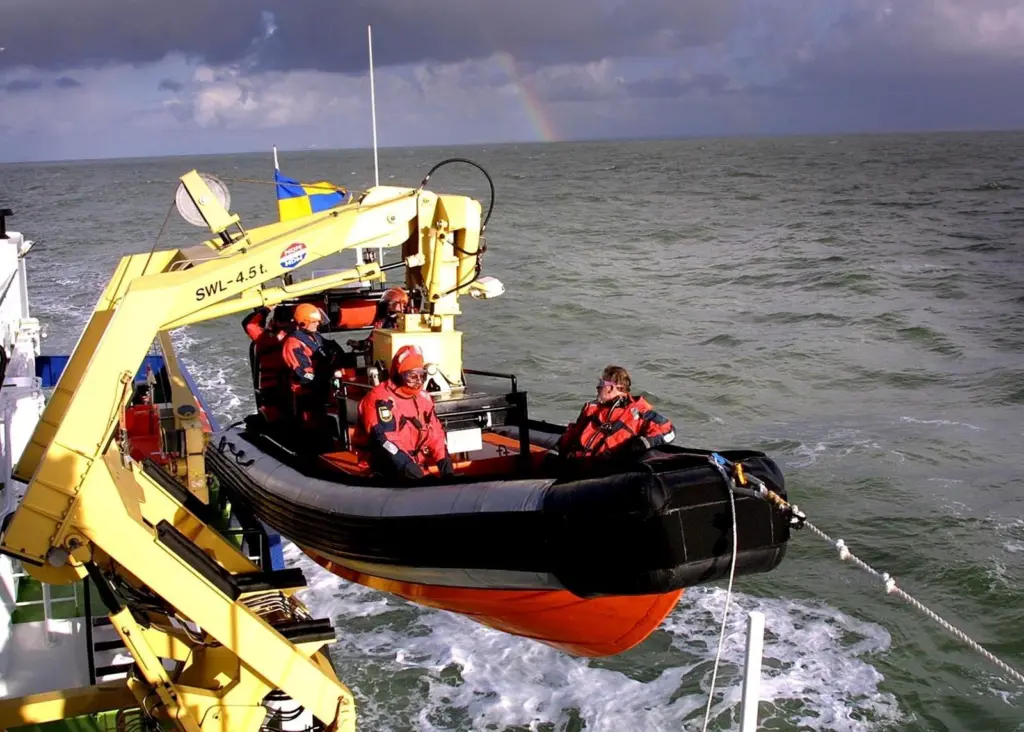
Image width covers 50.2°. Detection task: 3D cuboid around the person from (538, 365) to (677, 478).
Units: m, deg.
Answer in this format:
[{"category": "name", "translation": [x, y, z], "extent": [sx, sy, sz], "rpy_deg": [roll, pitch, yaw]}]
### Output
[{"category": "person", "translation": [1.100, 0.659, 12.843], "extent": [1.682, 0.632, 1.055], "rpy_deg": [-37, 11, -36]}]

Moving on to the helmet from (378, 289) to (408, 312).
[{"category": "helmet", "translation": [-1.402, -0.750, 12.866], "extent": [0.305, 0.283, 0.189], "rpy_deg": [18, 54, -9]}]

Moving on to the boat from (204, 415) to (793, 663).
[{"category": "boat", "translation": [-0.046, 1.571, 10.688], "extent": [4.822, 1.131, 2.427], "rpy_deg": [2, -1, 35]}]

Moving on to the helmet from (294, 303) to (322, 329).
[{"category": "helmet", "translation": [-2.389, -0.565, 12.780], "extent": [0.407, 0.238, 0.228], "rpy_deg": [-9, 32, 1]}]
